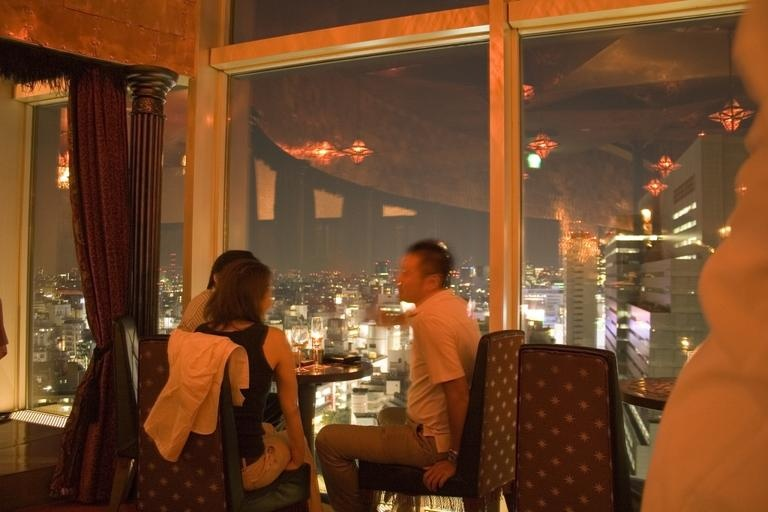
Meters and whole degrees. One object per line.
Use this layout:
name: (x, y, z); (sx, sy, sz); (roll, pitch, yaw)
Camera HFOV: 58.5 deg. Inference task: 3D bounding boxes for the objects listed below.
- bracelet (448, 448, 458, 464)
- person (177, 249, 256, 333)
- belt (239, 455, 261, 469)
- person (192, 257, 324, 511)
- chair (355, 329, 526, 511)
bracelet: (0.397, 1.129, 3.897); (0.068, 0.061, 0.055); (4, -6, -10)
person: (-1.095, 0.224, 4.490); (0.280, 0.800, 0.551); (11, -1, -19)
belt: (-0.745, 1.153, 3.873); (0.077, 0.058, 0.077); (9, -13, -43)
person: (-0.705, 0.761, 3.976); (0.721, 1.472, 0.356); (1, 1, -16)
chair: (0.394, 0.892, 4.306); (0.950, 0.955, 1.059); (2, 6, 6)
